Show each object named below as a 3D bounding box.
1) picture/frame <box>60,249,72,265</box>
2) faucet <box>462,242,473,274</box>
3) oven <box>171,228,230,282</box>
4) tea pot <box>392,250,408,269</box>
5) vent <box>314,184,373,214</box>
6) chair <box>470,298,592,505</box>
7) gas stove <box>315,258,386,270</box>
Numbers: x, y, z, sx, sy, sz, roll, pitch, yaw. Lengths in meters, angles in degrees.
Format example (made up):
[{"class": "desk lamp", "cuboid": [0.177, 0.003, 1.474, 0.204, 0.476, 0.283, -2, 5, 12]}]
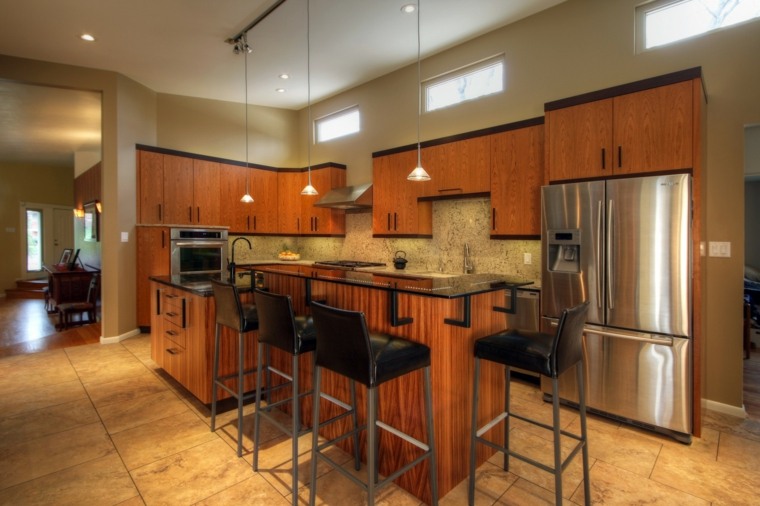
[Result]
[{"class": "picture/frame", "cuboid": [-6.632, 0.100, 10.734, 0.366, 0.375, 0.026, -2, -16, 37]}, {"class": "faucet", "cuboid": [1.199, 0.079, 6.876, 0.150, 0.400, 0.101, 0, 4, 20]}, {"class": "oven", "cuboid": [-2.768, 0.038, 7.707, 0.716, 1.070, 0.750, -4, -5, 45]}, {"class": "tea pot", "cuboid": [0.295, 0.103, 7.452, 0.251, 0.271, 0.260, -1, 4, 0]}, {"class": "vent", "cuboid": [-0.521, -0.872, 7.823, 0.466, 0.330, 0.889, -4, 4, -43]}, {"class": "chair", "cuboid": [1.535, 1.375, 4.879, 0.991, 1.844, 1.520, 2, 4, 38]}, {"class": "gas stove", "cuboid": [-0.543, 0.175, 7.938, 1.244, 0.091, 0.632, 1, 4, 42]}]
